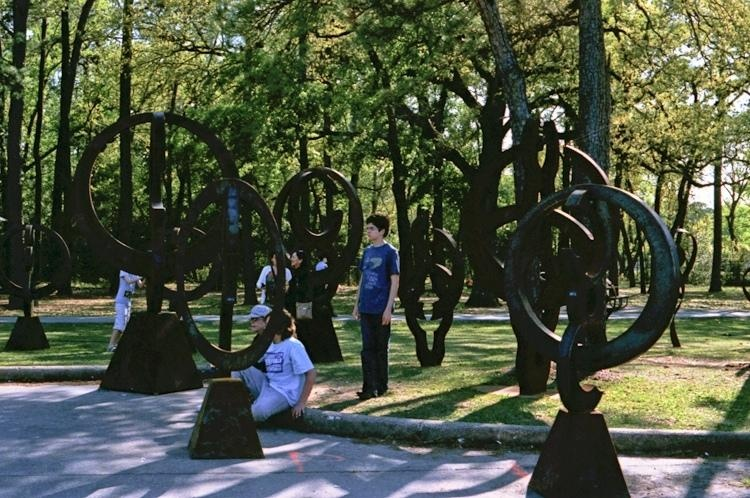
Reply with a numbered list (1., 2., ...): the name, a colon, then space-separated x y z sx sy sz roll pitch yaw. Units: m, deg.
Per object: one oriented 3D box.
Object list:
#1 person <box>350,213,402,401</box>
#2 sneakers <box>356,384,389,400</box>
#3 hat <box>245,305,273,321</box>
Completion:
1. person: 0.036 1.060 15.145 0.765 3.174 0.704 2 -1 0
2. sneakers: -0.024 2.685 15.031 0.600 0.272 0.200 -10 7 -42
3. hat: -1.966 1.092 13.902 0.388 0.225 0.265 -6 1 -27
